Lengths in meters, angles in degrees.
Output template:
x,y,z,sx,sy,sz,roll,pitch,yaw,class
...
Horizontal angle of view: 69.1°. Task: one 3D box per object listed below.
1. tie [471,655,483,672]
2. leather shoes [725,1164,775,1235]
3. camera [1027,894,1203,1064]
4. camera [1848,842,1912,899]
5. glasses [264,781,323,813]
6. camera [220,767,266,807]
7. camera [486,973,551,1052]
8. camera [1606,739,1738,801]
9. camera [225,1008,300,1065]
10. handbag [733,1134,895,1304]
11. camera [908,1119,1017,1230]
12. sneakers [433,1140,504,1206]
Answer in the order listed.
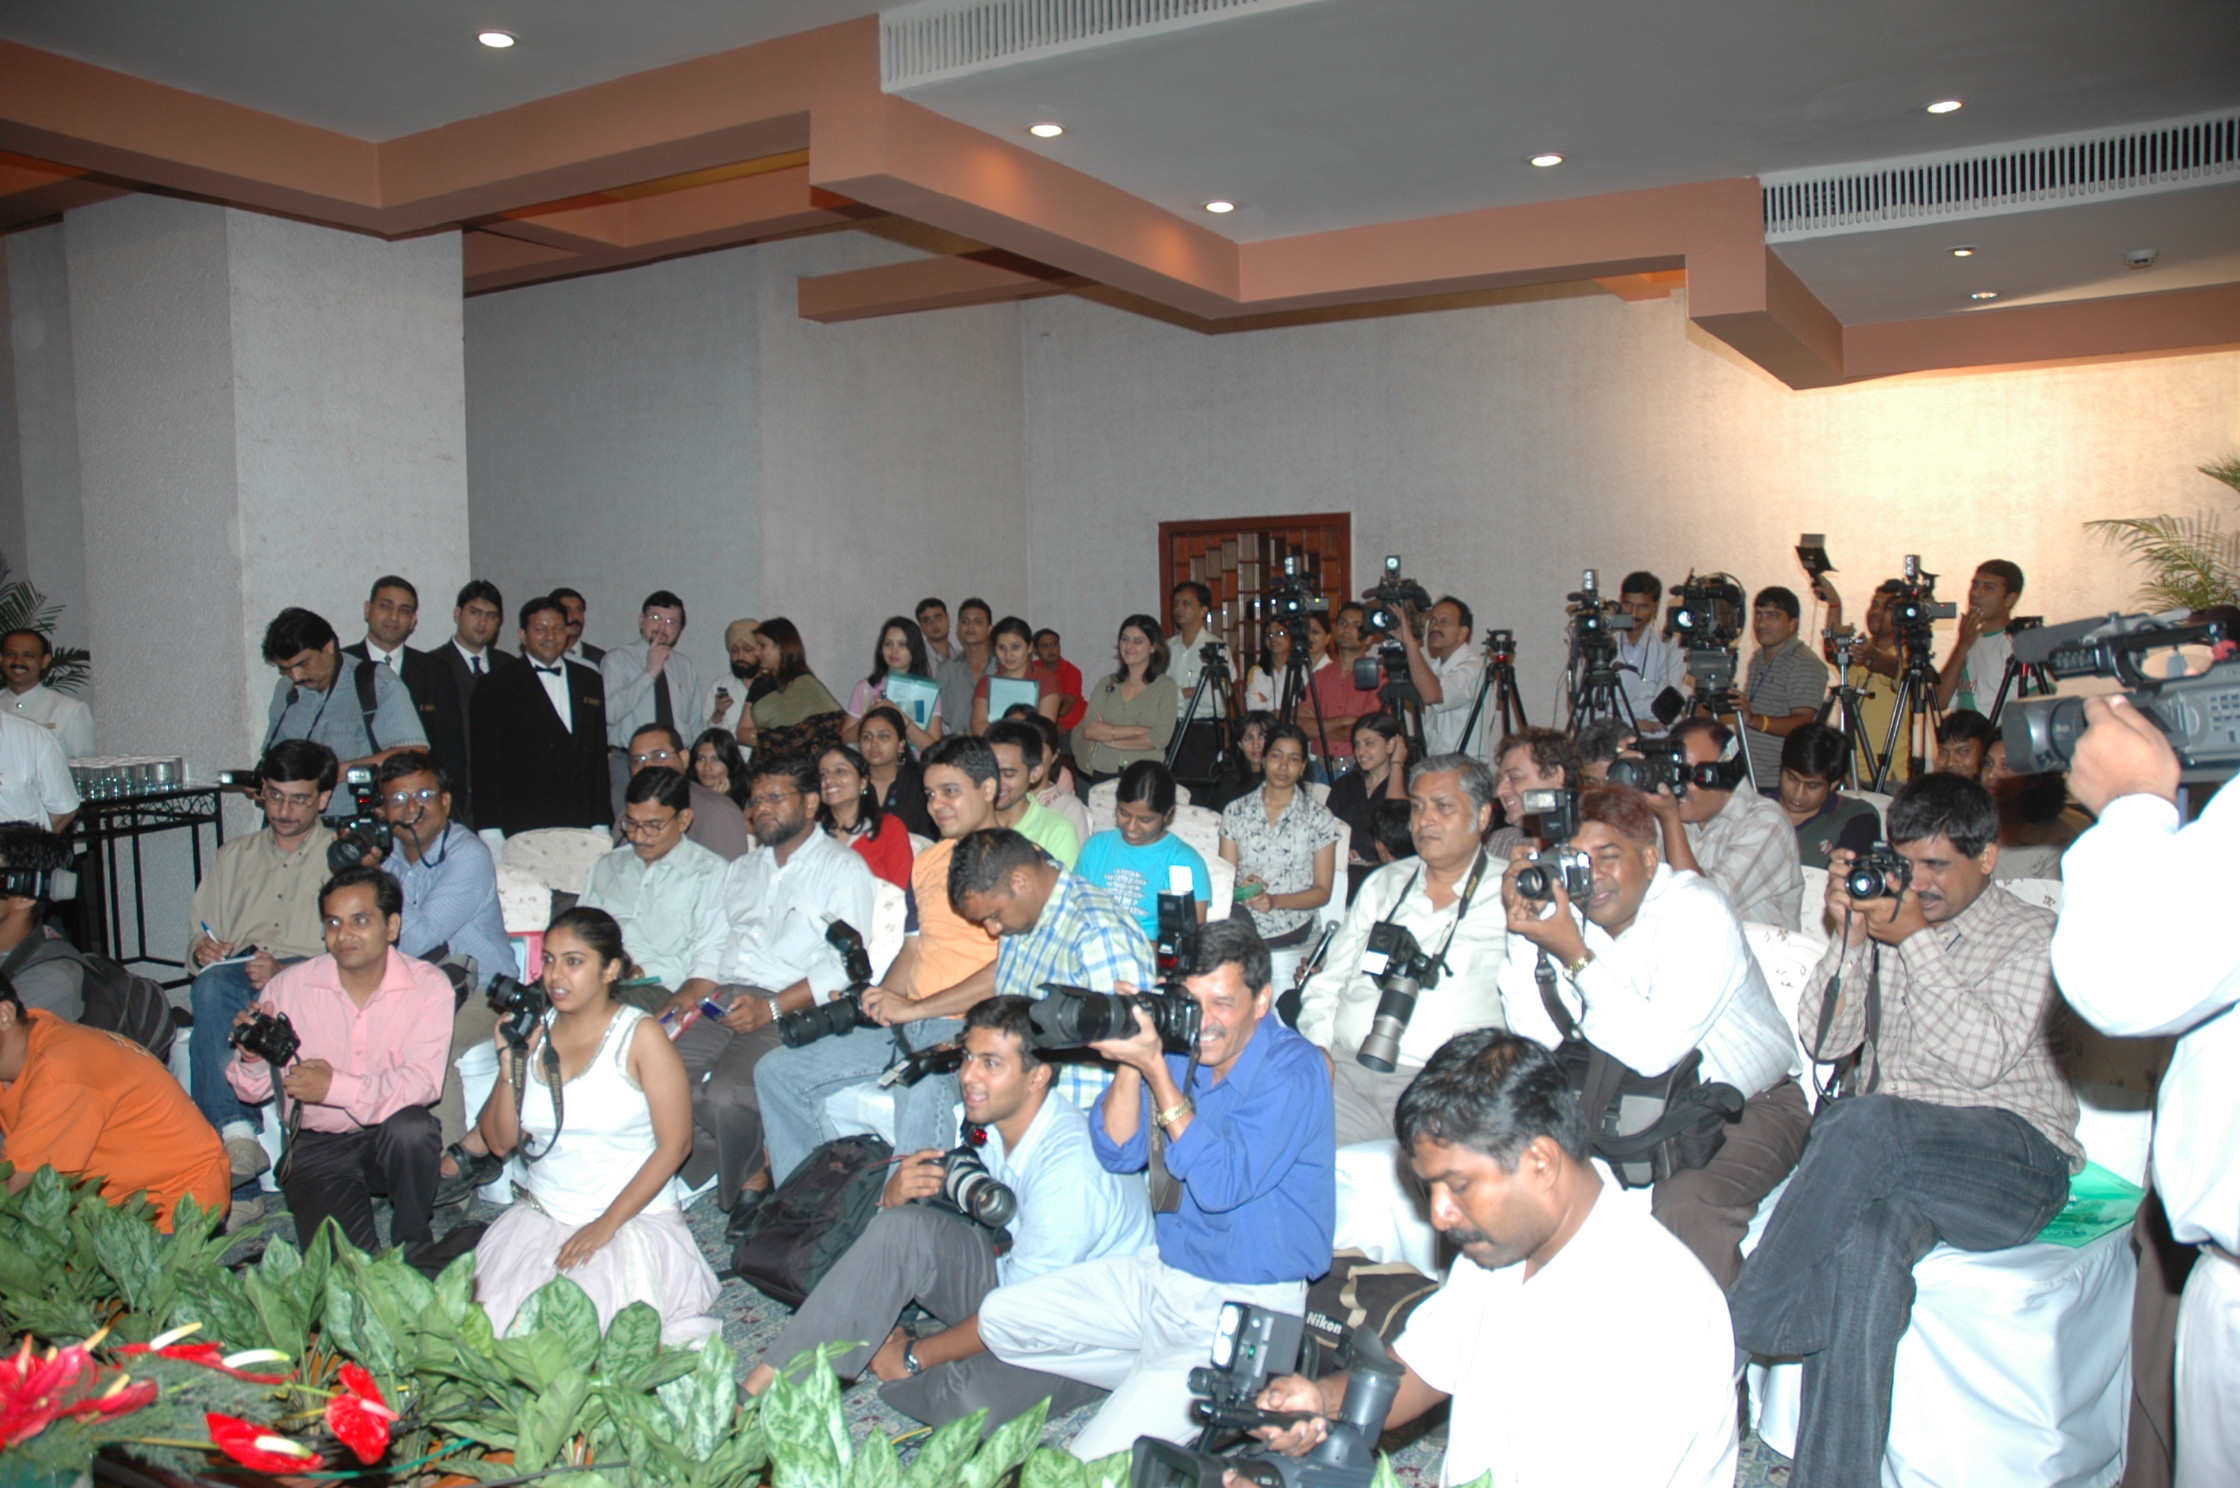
x,y,z,sx,sy,sz,roll,pitch,yaw,class
-3.100,-0.393,7.803,0.076,0.072,0.020,3,-14,-16,tie
-1.254,1.547,5.627,0.109,0.133,0.319,1,25,9,leather shoes
0.029,0.556,3.925,0.287,0.417,0.461,1,-6,44,camera
2.046,0.330,4.409,0.160,0.154,0.157,-5,-1,41,camera
-3.102,0.193,6.041,0.121,0.082,0.150,2,0,-7,glasses
-3.788,0.173,6.987,0.189,0.075,0.195,6,-17,3,camera
-1.745,0.768,4.718,0.199,0.194,0.077,-1,7,0,camera
1.660,0.080,5.003,0.251,0.125,0.317,1,-2,-27,camera
-2.653,0.918,5.066,0.186,0.141,0.189,37,-45,-24,camera
-0.892,1.396,4.772,0.342,0.487,0.268,27,-21,49,handbag
-0.395,1.160,4.327,0.112,0.249,0.277,41,-4,-33,camera
-2.055,1.328,5.134,0.167,0.139,0.353,26,0,-20,sneakers
